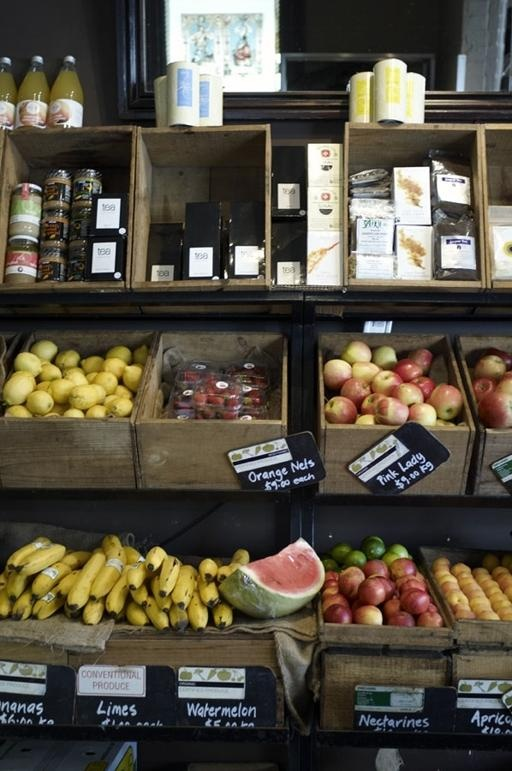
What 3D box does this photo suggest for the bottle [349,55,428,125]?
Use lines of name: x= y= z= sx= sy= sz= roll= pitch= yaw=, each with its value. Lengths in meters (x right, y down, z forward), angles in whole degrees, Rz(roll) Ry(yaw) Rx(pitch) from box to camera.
bottle: x=0.394 y=-0.860 z=1.794 sx=0.220 sy=0.178 sz=0.169 roll=1 pitch=16 yaw=10

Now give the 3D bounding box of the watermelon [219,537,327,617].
watermelon: x=0.059 y=0.563 z=1.721 sx=0.268 sy=0.202 sz=0.346 roll=-10 pitch=-7 yaw=40

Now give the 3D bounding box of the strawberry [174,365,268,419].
strawberry: x=-0.113 y=0.027 z=1.859 sx=0.191 sy=0.060 sz=0.203 roll=1 pitch=37 yaw=0
